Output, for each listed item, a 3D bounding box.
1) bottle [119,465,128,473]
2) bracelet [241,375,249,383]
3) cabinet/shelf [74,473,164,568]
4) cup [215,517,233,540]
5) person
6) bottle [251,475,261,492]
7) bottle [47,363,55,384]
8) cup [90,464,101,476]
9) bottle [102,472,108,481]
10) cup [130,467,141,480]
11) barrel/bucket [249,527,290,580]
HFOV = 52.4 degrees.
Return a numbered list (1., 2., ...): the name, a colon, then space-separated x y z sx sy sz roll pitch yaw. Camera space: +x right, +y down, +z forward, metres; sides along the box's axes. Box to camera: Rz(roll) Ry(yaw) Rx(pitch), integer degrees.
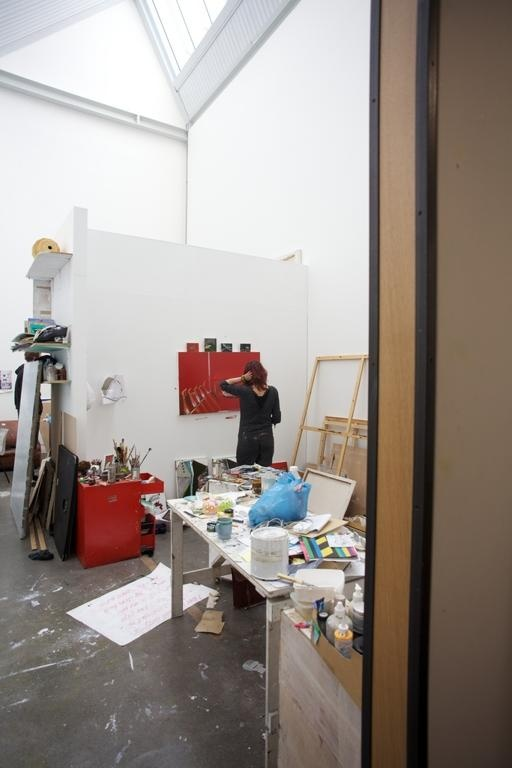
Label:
1. bottle: -1.067 0.674 4.218 0.052 0.047 0.047 0 3 13
2. bracelet: -0.104 -0.054 4.705 0.058 0.066 0.061 2 -3 -22
3. cabinet/shelf: -1.066 0.858 4.190 0.751 0.894 0.443 1 -4 -38
4. cup: -0.142 0.633 2.301 0.055 0.097 0.090 3 3 28
5. person: -0.049 0.268 4.769 0.518 0.963 0.302 0 1 -2
6. bottle: 0.014 0.582 3.092 0.049 0.104 0.049 0 -3 0
7. bottle: -1.803 -0.105 4.585 0.076 0.150 0.206 0 2 -21
8. cup: -1.286 0.678 4.183 0.066 0.100 0.081 0 4 5
9. bottle: -1.157 0.703 3.991 0.059 0.072 0.036 1 -1 -43
10. cup: -0.982 0.716 4.244 0.065 0.147 0.074 -1 0 -11
11. barrel/bucket: 0.049 0.597 1.906 0.119 0.174 0.134 0 1 14
